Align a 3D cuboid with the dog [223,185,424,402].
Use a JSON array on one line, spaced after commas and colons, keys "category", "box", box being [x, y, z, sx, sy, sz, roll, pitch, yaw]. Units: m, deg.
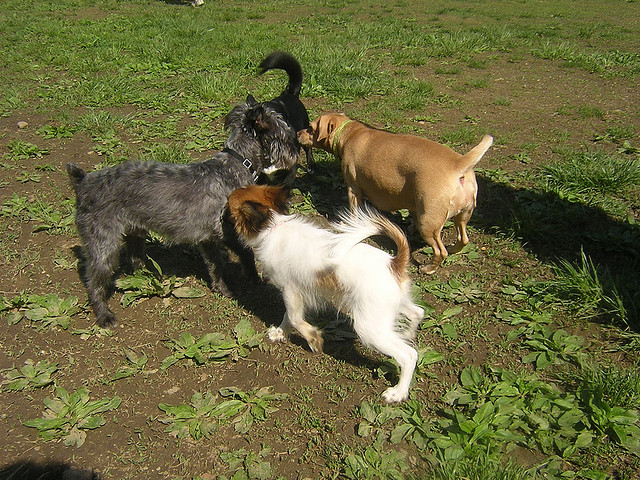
[{"category": "dog", "box": [0.070, 0.394, 5.210, 2.721, 1.721, 0.996, 12, 17, 41]}]
